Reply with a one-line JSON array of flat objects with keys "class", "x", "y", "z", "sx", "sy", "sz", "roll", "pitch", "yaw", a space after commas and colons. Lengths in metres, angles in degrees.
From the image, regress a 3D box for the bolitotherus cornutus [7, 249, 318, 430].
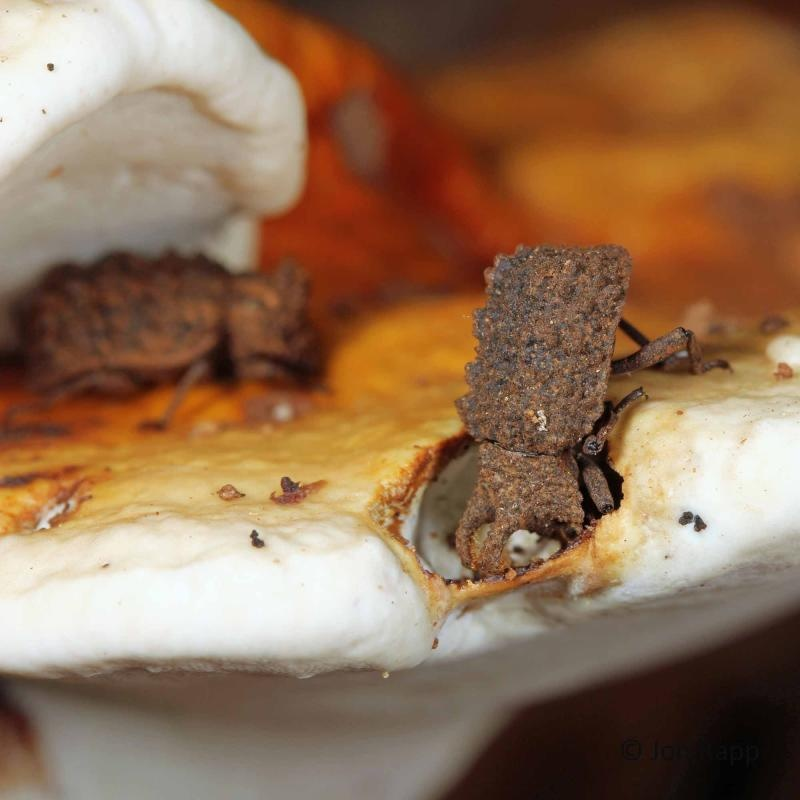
[{"class": "bolitotherus cornutus", "x": -0.350, "y": -0.101, "z": 1.550, "sx": 0.452, "sy": 0.180, "sz": 0.292, "roll": -2, "pitch": 38, "yaw": -2}]
